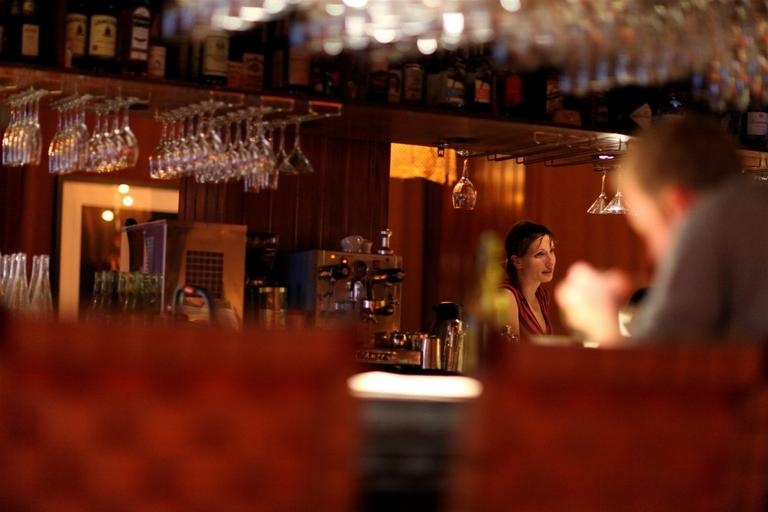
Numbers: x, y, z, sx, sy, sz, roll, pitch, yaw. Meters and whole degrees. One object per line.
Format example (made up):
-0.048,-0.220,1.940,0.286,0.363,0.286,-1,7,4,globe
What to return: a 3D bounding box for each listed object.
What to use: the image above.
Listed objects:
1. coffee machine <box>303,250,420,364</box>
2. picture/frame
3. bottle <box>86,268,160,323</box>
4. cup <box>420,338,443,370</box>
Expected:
-0.060,0.192,4.431,0.605,0.616,0.444,2,-4,-33,coffee machine
-1.304,-0.042,4.484,0.699,0.665,0.248,2,-5,-30,picture/frame
-0.972,0.168,3.657,0.238,0.238,0.152,2,-2,15,bottle
0.183,0.373,3.726,0.073,0.119,0.117,1,-3,-5,cup
